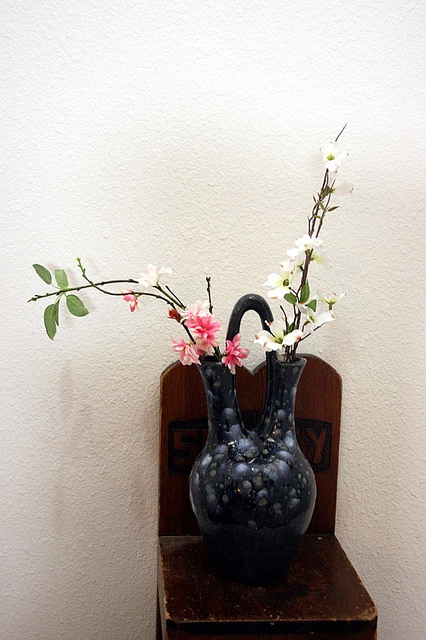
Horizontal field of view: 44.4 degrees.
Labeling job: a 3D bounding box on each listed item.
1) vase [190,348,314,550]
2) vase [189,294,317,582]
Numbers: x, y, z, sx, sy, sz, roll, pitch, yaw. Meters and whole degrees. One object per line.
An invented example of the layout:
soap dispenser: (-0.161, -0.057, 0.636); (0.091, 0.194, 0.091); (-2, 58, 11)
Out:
vase: (0.059, 0.183, 0.756); (0.179, 0.273, 0.099); (0, 3, -3)
vase: (0.057, 0.173, 0.795); (0.199, 0.397, 0.177); (0, 4, 0)
